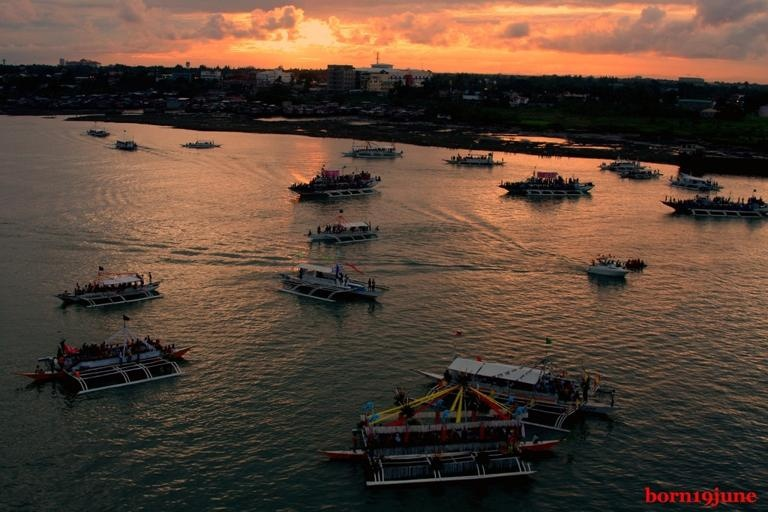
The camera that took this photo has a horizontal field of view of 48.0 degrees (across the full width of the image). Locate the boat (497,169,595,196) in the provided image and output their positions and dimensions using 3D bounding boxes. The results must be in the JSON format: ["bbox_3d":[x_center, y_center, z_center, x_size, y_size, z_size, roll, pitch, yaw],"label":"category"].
[{"bbox_3d":[27.823,-13.923,170.217,29.344,4.890,5.652,0,6,-2],"label":"boat"}]
